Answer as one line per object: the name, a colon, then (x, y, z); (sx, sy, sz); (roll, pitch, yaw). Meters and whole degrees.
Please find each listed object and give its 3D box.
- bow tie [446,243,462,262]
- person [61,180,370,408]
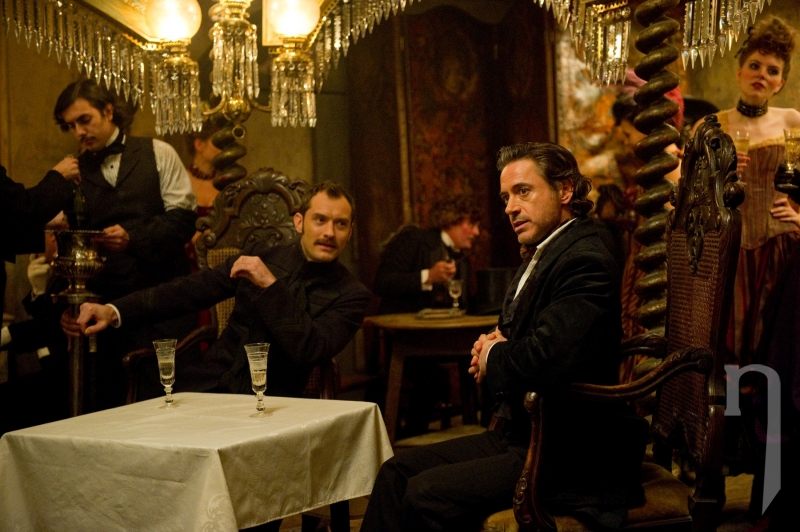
bow tie: (0.456, -0.104, 6.456); (0.130, 0.139, 0.136); (-24, 36, -32)
person: (-0.937, 0.302, 3.962); (1.300, 1.569, 1.104); (-5, 3, -9)
